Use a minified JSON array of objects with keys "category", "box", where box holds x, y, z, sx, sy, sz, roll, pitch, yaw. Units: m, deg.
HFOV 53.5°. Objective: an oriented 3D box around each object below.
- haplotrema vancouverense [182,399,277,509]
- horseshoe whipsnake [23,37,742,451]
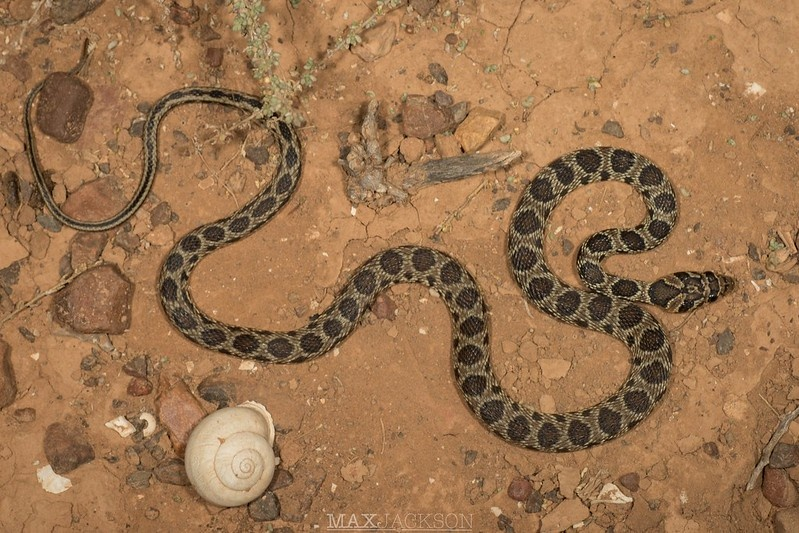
[{"category":"haplotrema vancouverense","box":[-2.331,2.577,11.049,1.390,0.519,1.268,-40,92,-11]},{"category":"horseshoe whipsnake","box":[0.745,0.006,11.552,8.167,0.740,4.554,13,86,5]}]
